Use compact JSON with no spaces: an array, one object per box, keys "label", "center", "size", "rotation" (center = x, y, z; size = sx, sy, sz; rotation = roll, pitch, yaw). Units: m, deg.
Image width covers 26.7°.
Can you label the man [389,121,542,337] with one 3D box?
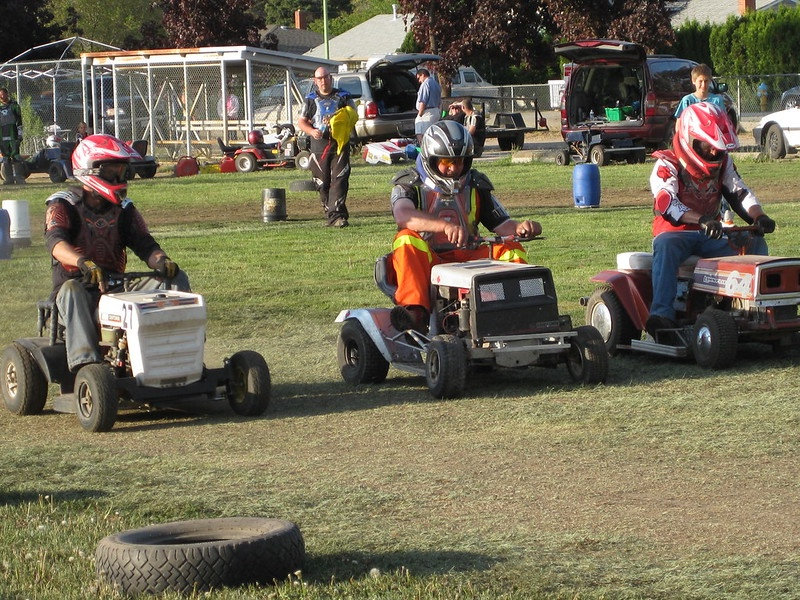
[{"label":"man","center":[0.591,-0.612,14.798],"size":[1.266,1.826,1.254],"rotation":[2,7,14]}]

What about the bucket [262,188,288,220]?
[{"label":"bucket","center":[-1.827,-1.365,24.277],"size":[0.343,0.505,0.427],"rotation":[-3,13,-5]}]

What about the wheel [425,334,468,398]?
[{"label":"wheel","center":[0.363,0.565,14.140],"size":[0.228,0.558,0.533],"rotation":[3,3,-24]}]

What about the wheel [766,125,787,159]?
[{"label":"wheel","center":[6.954,-2.919,31.239],"size":[0.200,0.665,0.636],"rotation":[-1,4,-15]}]

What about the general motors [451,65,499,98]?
[{"label":"general motors","center":[1.951,-6.176,48.200],"size":[0.814,0.828,1.626],"rotation":[8,16,39]}]

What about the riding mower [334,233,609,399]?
[{"label":"riding mower","center":[0.600,0.243,14.342],"size":[2.260,1.071,1.001],"rotation":[-2,13,2]}]

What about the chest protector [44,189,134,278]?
[{"label":"chest protector","center":[-2.567,-0.587,14.445],"size":[0.794,0.868,0.525],"rotation":[-2,38,-6]}]

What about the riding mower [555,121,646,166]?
[{"label":"riding mower","center":[3.494,-2.844,31.043],"size":[0.811,0.621,1.271],"rotation":[-4,11,-37]}]

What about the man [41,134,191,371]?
[{"label":"man","center":[-2.491,-0.378,14.281],"size":[1.114,2.037,1.117],"rotation":[-2,3,-37]}]

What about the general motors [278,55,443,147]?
[{"label":"general motors","center":[-0.334,-4.099,34.986],"size":[1.536,1.875,2.030],"rotation":[5,15,28]}]

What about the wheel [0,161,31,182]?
[{"label":"wheel","center":[-7.952,-2.640,34.681],"size":[0.537,0.543,0.461],"rotation":[-2,8,-5]}]

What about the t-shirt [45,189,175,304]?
[{"label":"t-shirt","center":[-2.594,-0.400,14.387],"size":[0.980,1.145,0.927],"rotation":[-3,18,-32]}]

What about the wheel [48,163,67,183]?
[{"label":"wheel","center":[-6.870,-2.548,33.783],"size":[0.139,0.386,0.361],"rotation":[-4,-5,-44]}]

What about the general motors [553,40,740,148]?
[{"label":"general motors","center":[4.086,-3.850,31.412],"size":[1.728,1.749,3.919],"rotation":[3,11,32]}]

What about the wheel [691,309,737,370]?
[{"label":"wheel","center":[2.688,0.330,14.596],"size":[0.178,0.527,0.511],"rotation":[-3,-1,-18]}]

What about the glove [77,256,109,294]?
[{"label":"glove","center":[-2.531,-0.197,13.846],"size":[0.089,0.300,0.181],"rotation":[-38,-38,20]}]

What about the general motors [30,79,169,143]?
[{"label":"general motors","center":[-7.392,-4.537,40.290],"size":[1.739,1.455,3.048],"rotation":[-8,16,-30]}]

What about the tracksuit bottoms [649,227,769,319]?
[{"label":"tracksuit bottoms","center":[2.935,-0.218,14.928],"size":[0.714,0.760,1.243],"rotation":[7,10,-10]}]

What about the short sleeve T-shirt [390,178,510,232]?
[{"label":"short sleeve T-shirt","center":[0.401,-0.833,14.863],"size":[0.700,0.386,0.868],"rotation":[1,5,-15]}]

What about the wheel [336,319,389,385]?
[{"label":"wheel","center":[-0.356,0.466,14.831],"size":[0.210,0.593,0.568],"rotation":[-3,-3,-30]}]

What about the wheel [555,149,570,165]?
[{"label":"wheel","center":[3.044,-2.673,31.774],"size":[0.098,0.250,0.238],"rotation":[-1,-22,-36]}]

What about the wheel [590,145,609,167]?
[{"label":"wheel","center":[3.575,-2.620,30.603],"size":[0.252,0.372,0.587],"rotation":[-7,14,-22]}]

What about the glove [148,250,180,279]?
[{"label":"glove","center":[-1.983,-0.291,14.189],"size":[0.255,0.105,0.196],"rotation":[32,-13,49]}]

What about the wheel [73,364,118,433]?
[{"label":"wheel","center":[-2.457,0.784,13.569],"size":[0.155,0.474,0.427],"rotation":[-2,15,-30]}]

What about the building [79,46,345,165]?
[{"label":"building","center":[-4.743,-4.687,38.700],"size":[3.527,2.032,3.478],"rotation":[1,10,21]}]

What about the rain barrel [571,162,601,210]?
[{"label":"rain barrel","center":[2.658,-1.640,24.214],"size":[0.527,0.843,0.559],"rotation":[-2,14,1]}]

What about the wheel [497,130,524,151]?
[{"label":"wheel","center":[2.414,-3.501,37.246],"size":[0.464,0.352,0.400],"rotation":[-3,2,38]}]

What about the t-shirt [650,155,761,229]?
[{"label":"t-shirt","center":[2.722,-0.940,15.162],"size":[0.656,0.629,0.821],"rotation":[-4,9,-31]}]

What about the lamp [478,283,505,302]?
[{"label":"lamp","center":[0.756,-0.064,14.030],"size":[0.210,0.137,0.059],"rotation":[-4,13,-6]}]

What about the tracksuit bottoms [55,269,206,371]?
[{"label":"tracksuit bottoms","center":[-2.241,0.130,13.654],"size":[0.652,0.723,1.101],"rotation":[-7,8,-35]}]

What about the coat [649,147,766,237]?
[{"label":"coat","center":[2.722,-0.993,15.147],"size":[0.710,0.645,0.901],"rotation":[-3,7,-27]}]

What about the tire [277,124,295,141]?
[{"label":"tire","center":[-2.352,-3.451,34.817],"size":[0.291,0.273,0.418],"rotation":[-8,12,-35]}]

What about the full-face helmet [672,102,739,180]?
[{"label":"full-face helmet","center":[2.686,-1.419,15.092],"size":[0.439,0.615,0.672],"rotation":[-7,21,-21]}]
